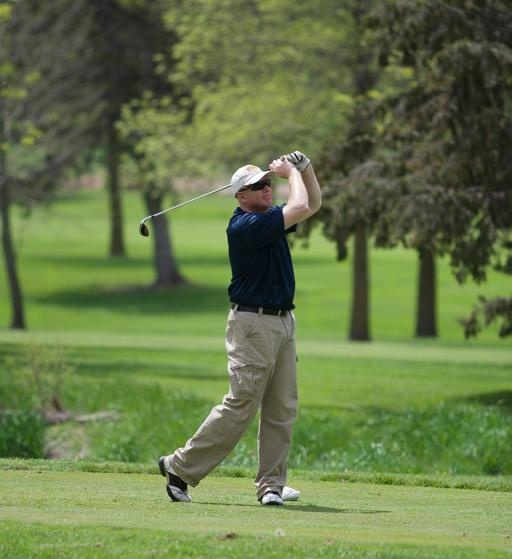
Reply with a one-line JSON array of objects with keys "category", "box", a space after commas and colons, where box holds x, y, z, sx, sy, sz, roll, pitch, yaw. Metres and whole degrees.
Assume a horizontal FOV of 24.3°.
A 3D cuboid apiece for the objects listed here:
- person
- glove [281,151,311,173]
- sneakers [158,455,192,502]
[{"category": "person", "box": [-0.057, 0.214, 5.652, 0.727, 1.619, 0.406, 2, 0, -6]}, {"category": "glove", "box": [0.197, -0.576, 5.795, 0.098, 0.114, 0.051, -37, 24, 32]}, {"category": "sneakers", "box": [-0.379, 0.944, 5.624, 0.148, 0.205, 0.253, 2, -1, -16]}]
